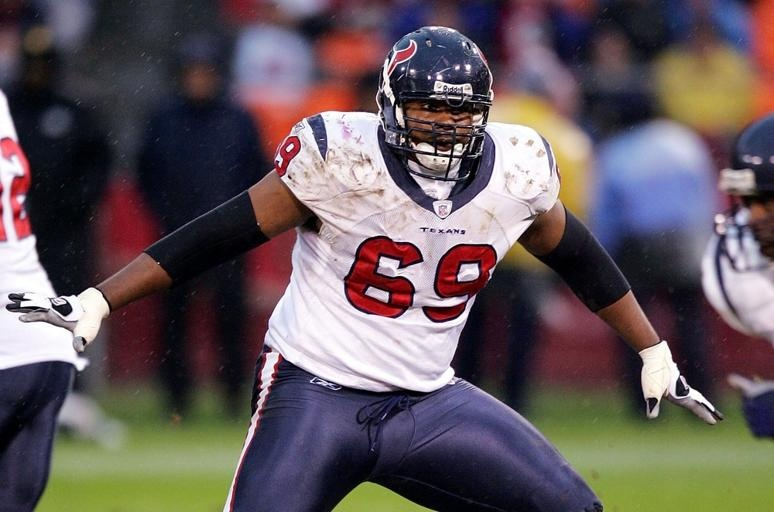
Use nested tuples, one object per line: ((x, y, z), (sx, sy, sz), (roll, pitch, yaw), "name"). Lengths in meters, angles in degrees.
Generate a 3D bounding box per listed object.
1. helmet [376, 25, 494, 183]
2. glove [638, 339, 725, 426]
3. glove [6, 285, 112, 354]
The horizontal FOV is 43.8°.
((0.169, -0.520, 3.331), (0.381, 0.505, 0.519), (-1, 8, -15), "helmet")
((1.072, 0.478, 3.581), (0.238, 0.350, 0.117), (-20, 2, -23), "glove")
((-1.120, 0.222, 3.262), (0.274, 0.089, 0.232), (3, 38, -17), "glove")
